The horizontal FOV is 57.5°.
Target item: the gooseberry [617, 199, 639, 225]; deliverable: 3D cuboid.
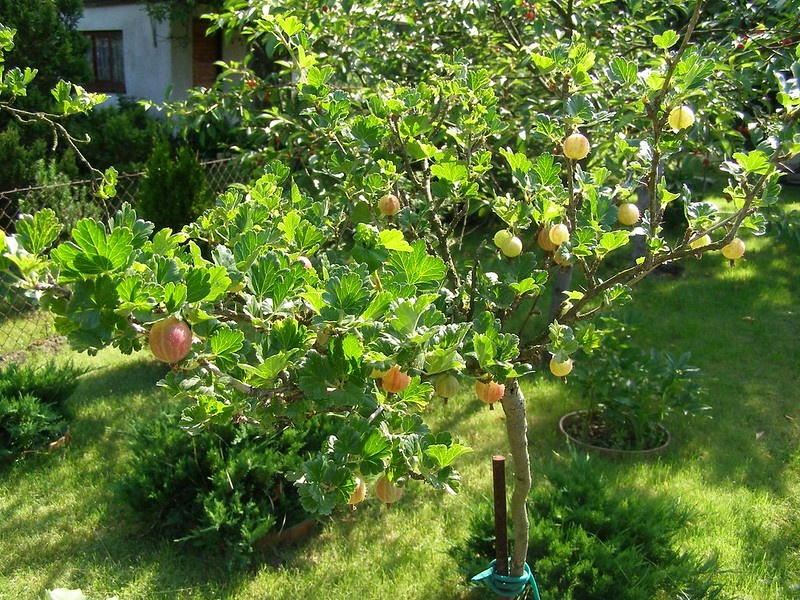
[{"bbox_3d":[1.054,-0.405,3.385,0.100,0.120,0.103,-2,8,20],"label":"gooseberry"}]
